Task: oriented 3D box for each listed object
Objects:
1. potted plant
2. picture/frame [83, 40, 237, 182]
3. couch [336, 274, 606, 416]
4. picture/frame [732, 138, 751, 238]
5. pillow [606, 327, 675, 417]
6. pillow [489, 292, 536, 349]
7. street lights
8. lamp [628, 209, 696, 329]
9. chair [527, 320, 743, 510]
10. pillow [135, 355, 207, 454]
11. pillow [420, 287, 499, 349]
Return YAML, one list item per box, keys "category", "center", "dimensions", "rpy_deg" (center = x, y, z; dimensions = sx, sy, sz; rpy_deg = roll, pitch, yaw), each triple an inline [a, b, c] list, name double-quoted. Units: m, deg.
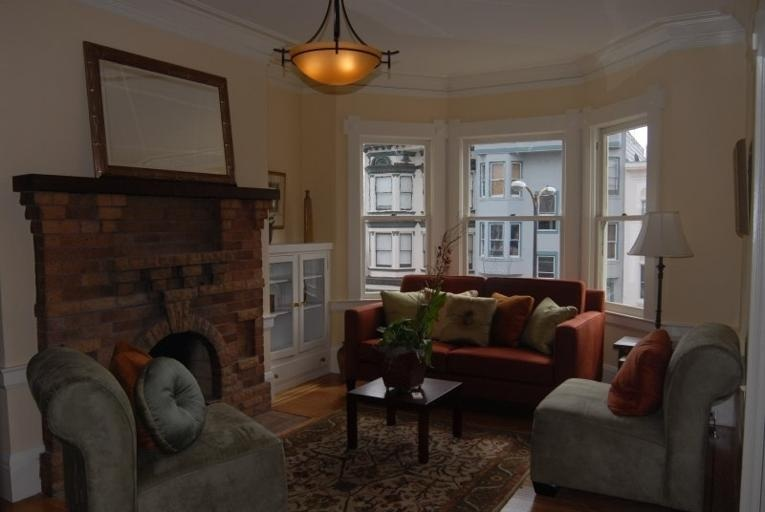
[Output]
- category: "potted plant"
  center: [0.299, 0.438, 3.960]
  dimensions: [0.551, 1.202, 0.483]
  rpy_deg: [3, -13, 29]
- category: "picture/frame"
  center: [-1.557, -0.971, 3.813]
  dimensions: [1.204, 0.919, 0.091]
  rpy_deg: [1, -9, -44]
- category: "couch"
  center: [0.789, 0.743, 4.997]
  dimensions: [2.159, 1.057, 0.985]
  rpy_deg: [0, 2, 37]
- category: "picture/frame"
  center: [1.865, -0.336, 2.898]
  dimensions: [0.043, 0.461, 0.355]
  rpy_deg: [-1, 0, 33]
- category: "pillow"
  center: [1.613, 0.697, 3.458]
  dimensions: [0.337, 0.444, 0.670]
  rpy_deg: [-5, 7, 30]
- category: "pillow"
  center: [1.059, 0.541, 4.827]
  dimensions: [0.264, 0.410, 0.507]
  rpy_deg: [-7, 5, -26]
- category: "street lights"
  center: [1.450, -0.275, 5.525]
  dimensions: [0.458, 0.909, 0.269]
  rpy_deg: [6, 14, 24]
- category: "lamp"
  center: [2.083, 0.126, 4.227]
  dimensions: [0.422, 0.932, 0.446]
  rpy_deg: [8, 15, 32]
- category: "chair"
  center: [1.553, 0.823, 3.491]
  dimensions: [1.072, 0.860, 1.067]
  rpy_deg: [0, -1, 27]
- category: "pillow"
  center: [-1.085, 0.756, 2.858]
  dimensions: [0.151, 0.409, 0.409]
  rpy_deg: [-20, -10, 23]
- category: "pillow"
  center: [0.700, 0.538, 4.765]
  dimensions: [0.523, 0.475, 0.161]
  rpy_deg: [5, -17, 38]
